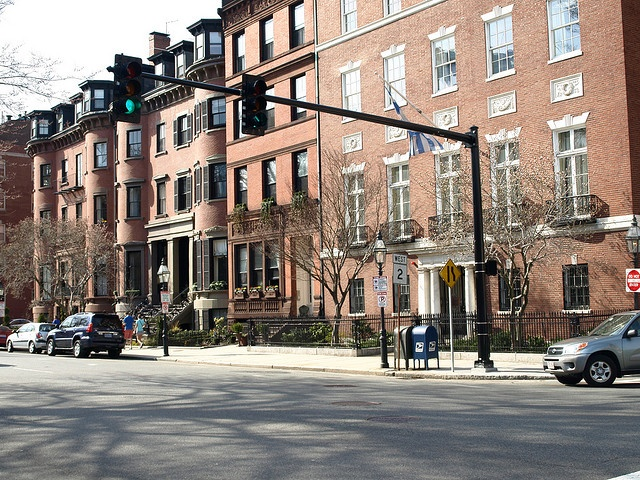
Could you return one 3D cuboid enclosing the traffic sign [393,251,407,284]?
[{"bbox_3d":[2.703,0.981,32.516,0.326,0.917,0.787,-7,-14,29],"label":"traffic sign"}]

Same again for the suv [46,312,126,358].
[{"bbox_3d":[-10.402,4.612,43.949,3.417,2.115,5.197,12,-18,-44],"label":"suv"}]

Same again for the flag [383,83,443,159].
[{"bbox_3d":[3.689,-4.448,36.586,1.747,3.243,4.504,-1,-13,4],"label":"flag"}]

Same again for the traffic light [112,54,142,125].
[{"bbox_3d":[-4.898,-3.815,23.977,0.760,2.005,1.013,2,-13,-13],"label":"traffic light"}]

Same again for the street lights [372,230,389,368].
[{"bbox_3d":[2.175,2.067,33.331,0.710,4.059,0.534,-2,-3,-20],"label":"street lights"}]

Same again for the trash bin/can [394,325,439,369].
[{"bbox_3d":[3.237,3.592,32.017,1.437,1.447,0.810,-2,0,22],"label":"trash bin/can"}]
